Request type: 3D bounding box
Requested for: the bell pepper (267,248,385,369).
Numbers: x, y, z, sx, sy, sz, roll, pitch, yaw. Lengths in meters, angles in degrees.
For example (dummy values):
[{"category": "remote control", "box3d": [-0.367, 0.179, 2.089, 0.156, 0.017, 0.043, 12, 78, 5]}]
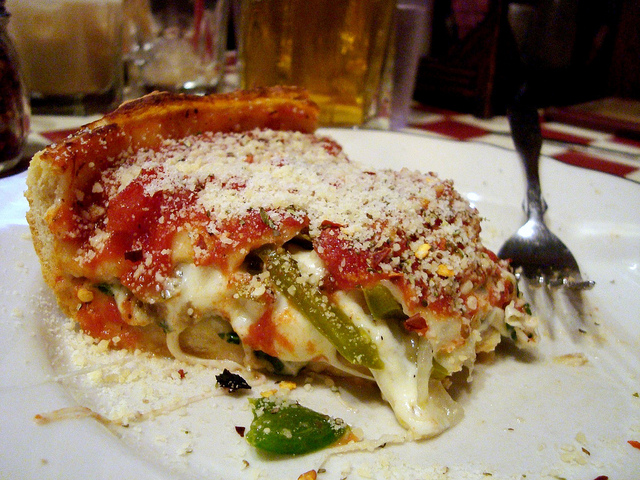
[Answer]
[{"category": "bell pepper", "box3d": [0.014, 0.228, 2.037, 0.444, 0.224, 0.087, 26, 44, 25]}]
